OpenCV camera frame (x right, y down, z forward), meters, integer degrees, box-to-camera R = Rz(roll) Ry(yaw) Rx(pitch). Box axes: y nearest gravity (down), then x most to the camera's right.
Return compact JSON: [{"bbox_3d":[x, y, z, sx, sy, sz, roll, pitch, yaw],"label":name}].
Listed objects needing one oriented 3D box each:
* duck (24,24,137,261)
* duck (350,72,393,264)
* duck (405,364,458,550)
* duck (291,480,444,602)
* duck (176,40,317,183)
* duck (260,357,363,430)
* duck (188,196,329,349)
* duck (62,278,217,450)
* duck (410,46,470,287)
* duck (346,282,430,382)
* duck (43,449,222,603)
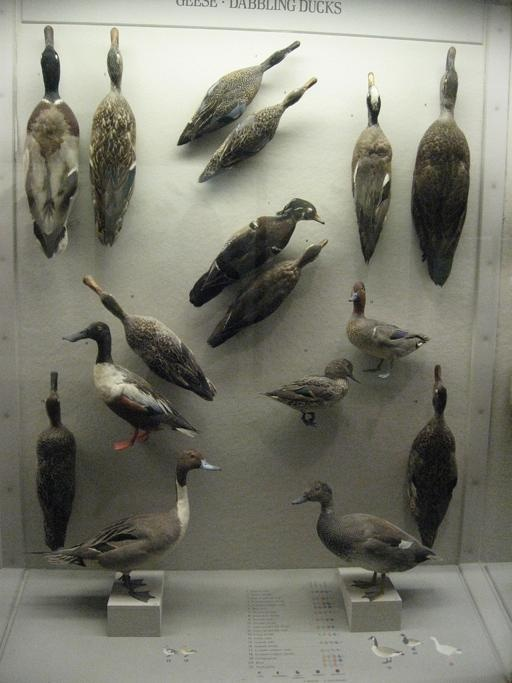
[{"bbox_3d":[-0.509,-0.650,2.742,0.308,0.725,0.468,3,8,0],"label":"duck"},{"bbox_3d":[0.396,-0.589,2.765,0.127,0.634,0.140,9,20,23],"label":"duck"},{"bbox_3d":[0.626,0.424,2.873,0.214,0.564,0.374,6,-2,8],"label":"duck"},{"bbox_3d":[0.373,0.680,2.746,0.531,0.332,0.209,7,-5,-13],"label":"duck"},{"bbox_3d":[0.012,-0.788,2.795,0.596,0.194,0.385,-40,-1,-1],"label":"duck"},{"bbox_3d":[0.194,0.176,2.802,0.345,0.206,0.139,-1,1,-9],"label":"duck"},{"bbox_3d":[0.096,-0.270,2.772,0.628,0.328,0.186,-32,58,-1],"label":"duck"},{"bbox_3d":[-0.403,0.091,2.733,0.459,0.594,0.208,7,19,19],"label":"duck"},{"bbox_3d":[0.644,-0.595,2.781,0.156,0.804,0.196,15,23,37],"label":"duck"},{"bbox_3d":[0.461,-0.038,2.867,0.365,0.298,0.182,1,5,-29],"label":"duck"},{"bbox_3d":[-0.422,0.606,2.704,0.576,0.418,0.228,-3,10,-11],"label":"duck"}]
